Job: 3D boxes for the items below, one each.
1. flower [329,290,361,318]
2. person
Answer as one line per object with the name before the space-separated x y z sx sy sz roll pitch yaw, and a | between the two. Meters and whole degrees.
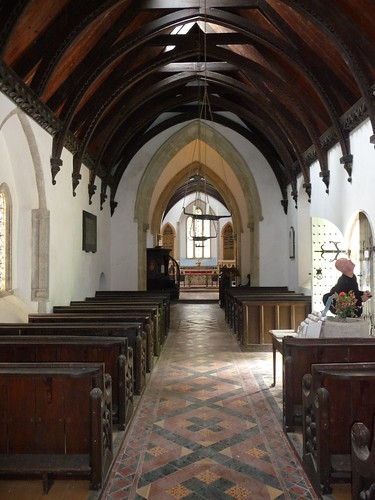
flower | 1.528 0.524 4.046 0.250 0.393 0.226 1 -2 -20
person | 1.911 0.425 4.799 0.299 0.902 0.377 -3 27 19
